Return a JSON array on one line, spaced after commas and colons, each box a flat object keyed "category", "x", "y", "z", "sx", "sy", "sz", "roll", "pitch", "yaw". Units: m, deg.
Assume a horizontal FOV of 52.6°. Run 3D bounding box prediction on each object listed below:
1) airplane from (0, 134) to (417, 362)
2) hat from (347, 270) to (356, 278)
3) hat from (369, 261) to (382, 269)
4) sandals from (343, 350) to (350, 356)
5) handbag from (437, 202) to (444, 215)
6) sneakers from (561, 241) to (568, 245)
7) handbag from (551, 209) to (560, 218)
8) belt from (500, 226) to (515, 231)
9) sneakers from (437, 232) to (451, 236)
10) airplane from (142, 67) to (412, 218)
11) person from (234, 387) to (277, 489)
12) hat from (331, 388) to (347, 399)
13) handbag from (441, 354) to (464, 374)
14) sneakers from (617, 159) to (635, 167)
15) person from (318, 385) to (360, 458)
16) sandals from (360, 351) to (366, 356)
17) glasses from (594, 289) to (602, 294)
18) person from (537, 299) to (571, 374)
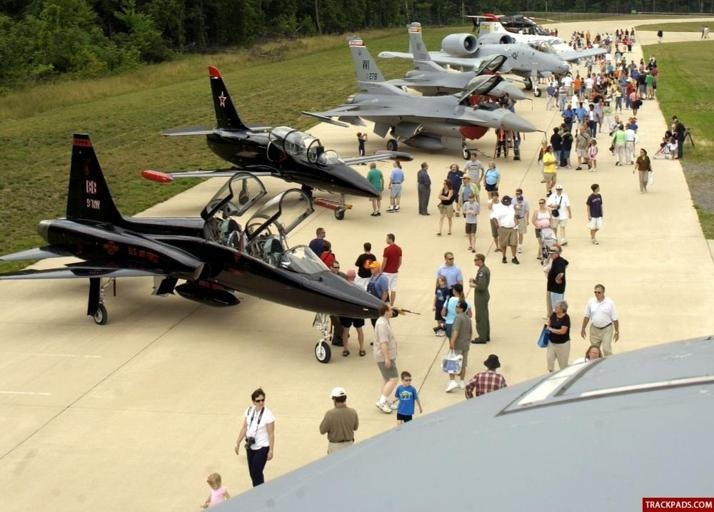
[{"category": "airplane", "x": -3.145, "y": -0.200, "z": 16.083, "sx": 8.705, "sy": 2.394, "sz": 5.935, "roll": 13, "pitch": 23, "yaw": 20}, {"category": "hat", "x": -0.120, "y": 0.363, "z": 14.877, "sx": 0.166, "sy": 0.084, "sz": 0.169, "roll": -3, "pitch": 32, "yaw": 0}, {"category": "hat", "x": 0.393, "y": 0.181, "z": 14.891, "sx": 0.236, "sy": 0.080, "sz": 0.171, "roll": 7, "pitch": -3, "yaw": -42}, {"category": "sandals", "x": -0.235, "y": 1.941, "z": 14.590, "sx": 0.140, "sy": 0.102, "sz": 0.163, "roll": -5, "pitch": 20, "yaw": 0}, {"category": "handbag", "x": 2.444, "y": -1.341, "z": 20.946, "sx": 0.111, "sy": 0.260, "sz": 0.300, "roll": -10, "pitch": 30, "yaw": -11}, {"category": "sneakers", "x": 5.728, "y": -0.368, "z": 20.059, "sx": 0.138, "sy": 0.099, "sz": 0.290, "roll": -5, "pitch": -12, "yaw": -4}, {"category": "handbag", "x": 5.357, "y": -1.157, "z": 19.487, "sx": 0.202, "sy": 0.238, "sz": 0.087, "roll": -2, "pitch": 27, "yaw": 11}, {"category": "belt", "x": 3.918, "y": -0.737, "z": 18.691, "sx": 0.374, "sy": 0.139, "sz": 0.137, "roll": -8, "pitch": 22, "yaw": -12}, {"category": "sneakers", "x": 2.556, "y": -0.662, "z": 21.362, "sx": 0.472, "sy": 0.085, "sz": 0.145, "roll": -2, "pitch": 3, "yaw": -18}, {"category": "airplane", "x": -2.876, "y": -3.440, "z": 23.962, "sx": 8.154, "sy": 2.402, "sz": 8.078, "roll": 19, "pitch": 23, "yaw": 41}, {"category": "person", "x": -1.408, "y": 2.625, "z": 10.320, "sx": 0.561, "sy": 1.620, "sz": 0.771, "roll": -14, "pitch": 26, "yaw": -10}, {"category": "hat", "x": -0.272, "y": 1.933, "z": 10.276, "sx": 0.165, "sy": 0.196, "sz": 0.257, "roll": -6, "pitch": 21, "yaw": 2}, {"category": "handbag", "x": 1.693, "y": 1.924, "z": 12.840, "sx": 0.360, "sy": 0.505, "sz": 0.406, "roll": -4, "pitch": 23, "yaw": 7}, {"category": "sneakers", "x": 10.567, "y": -3.675, "z": 28.630, "sx": 0.922, "sy": 0.209, "sz": 0.216, "roll": 3, "pitch": -2, "yaw": -6}, {"category": "person", "x": -0.249, "y": 2.462, "z": 10.335, "sx": 0.540, "sy": 1.273, "sz": 0.660, "roll": -10, "pitch": 25, "yaw": -3}, {"category": "sandals", "x": 0.110, "y": 1.956, "z": 14.605, "sx": 0.146, "sy": 0.049, "sz": 0.223, "roll": -1, "pitch": 3, "yaw": -2}, {"category": "glasses", "x": 4.286, "y": 0.626, "z": 12.915, "sx": 0.097, "sy": 0.071, "sz": 0.115, "roll": -4, "pitch": -13, "yaw": 30}, {"category": "person", "x": 3.500, "y": 1.502, "z": 12.826, "sx": 0.518, "sy": 1.596, "sz": 0.904, "roll": -2, "pitch": 25, "yaw": 13}]
